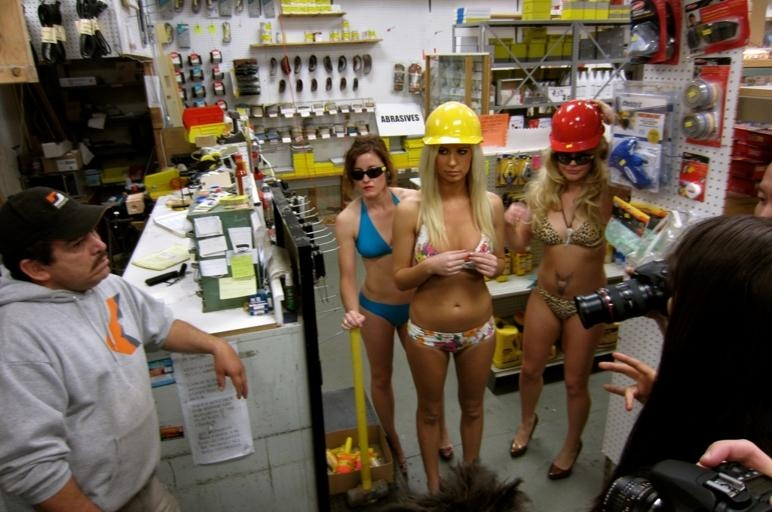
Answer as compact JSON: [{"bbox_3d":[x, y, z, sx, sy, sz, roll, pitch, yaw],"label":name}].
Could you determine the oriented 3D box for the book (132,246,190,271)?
[{"bbox_3d":[-1.429,0.012,3.344,0.290,0.035,0.289,-22,31,-32],"label":"book"}]

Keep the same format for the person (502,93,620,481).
[{"bbox_3d":[1.007,0.141,3.397,0.759,2.424,0.718,2,-6,0],"label":"person"}]

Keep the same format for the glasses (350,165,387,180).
[{"bbox_3d":[-0.104,-0.510,3.151,0.211,0.082,0.098,-4,18,-1],"label":"glasses"}]

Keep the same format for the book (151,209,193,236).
[{"bbox_3d":[-1.518,-0.240,3.701,0.209,0.051,0.203,25,36,34],"label":"book"}]

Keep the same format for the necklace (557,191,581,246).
[{"bbox_3d":[1.135,-0.247,3.185,0.143,0.279,0.089,2,-9,2],"label":"necklace"}]

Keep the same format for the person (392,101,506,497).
[{"bbox_3d":[0.358,0.128,2.970,0.713,2.177,0.691,0,-11,1],"label":"person"}]

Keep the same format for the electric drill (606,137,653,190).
[{"bbox_3d":[1.388,-0.526,2.926,0.109,0.171,0.279,-2,56,-51],"label":"electric drill"}]

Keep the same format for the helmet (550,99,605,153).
[{"bbox_3d":[1.157,-0.781,3.119,0.284,0.275,0.144,3,19,19],"label":"helmet"}]

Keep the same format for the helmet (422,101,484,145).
[{"bbox_3d":[0.357,-0.740,2.867,0.295,0.238,0.429,6,17,0],"label":"helmet"}]

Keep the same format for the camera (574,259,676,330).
[{"bbox_3d":[0.810,0.087,1.956,0.407,0.232,0.374,2,17,6],"label":"camera"}]
